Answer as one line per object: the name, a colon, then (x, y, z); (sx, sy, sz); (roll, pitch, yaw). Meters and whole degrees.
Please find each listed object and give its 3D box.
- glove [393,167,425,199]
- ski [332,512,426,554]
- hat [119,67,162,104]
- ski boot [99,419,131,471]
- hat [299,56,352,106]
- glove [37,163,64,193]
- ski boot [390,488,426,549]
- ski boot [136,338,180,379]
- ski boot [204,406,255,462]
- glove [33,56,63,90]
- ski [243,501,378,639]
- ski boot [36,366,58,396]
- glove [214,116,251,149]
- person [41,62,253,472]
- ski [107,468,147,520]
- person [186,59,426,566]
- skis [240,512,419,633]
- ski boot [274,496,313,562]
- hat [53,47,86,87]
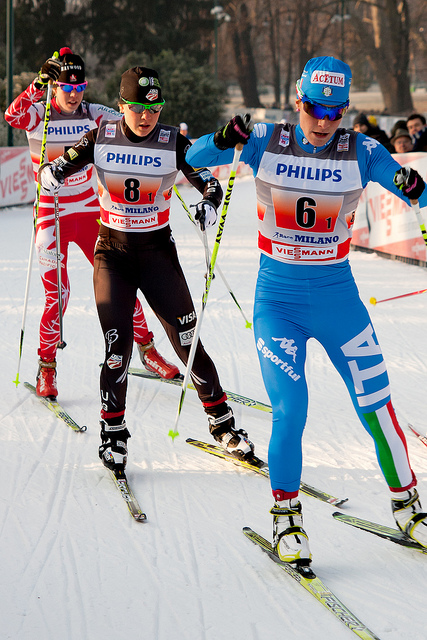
glove: (0.660, -0.469, 2.056); (0.082, 0.094, 0.111); (-35, 28, -21)
ski: (0.663, 0.833, 2.412); (0.090, 0.047, 0.420); (-11, 20, -36)
hat: (-0.351, -1.084, 2.816); (0.162, 0.162, 0.212); (-3, 15, -19)
ski boot: (-0.538, 0.614, 3.075); (0.125, 0.247, 0.351); (3, -2, -26)
hat: (0.382, -0.815, 2.045); (0.173, 0.182, 0.203); (3, 12, 10)
glove: (-0.859, -0.748, 3.137); (0.091, 0.147, 0.341); (-4, 13, -23)
ski boot: (0.743, 0.735, 2.253); (0.137, 0.216, 0.069); (5, 13, 20)
ski boot: (-0.406, 0.273, 4.360); (0.140, 0.234, 0.407); (-23, 28, -31)
ski boot: (0.072, 0.546, 3.218); (0.231, 0.426, 0.166); (4, 40, 24)
glove: (-1.037, -1.588, 3.855); (0.162, 0.217, 0.086); (34, 14, 35)
ski: (0.247, 0.806, 2.214); (0.111, 0.087, 1.007); (-9, 24, -22)
ski boot: (-1.106, 0.405, 3.915); (0.089, 0.109, 0.259); (2, 11, -15)
glove: (0.053, -0.654, 2.080); (0.057, 0.083, 0.116); (10, 5, -42)
person: (-0.314, -0.233, 2.963); (1.039, 1.968, 0.792); (-1, 11, -10)
ski: (-0.388, 0.799, 2.751); (0.066, 0.039, 0.472); (1, 21, -21)
person: (0.376, -0.005, 2.156); (0.889, 1.779, 0.474); (2, 12, 3)
skis: (0.368, 0.868, 2.046); (0.257, 0.063, 0.448); (-5, 13, -29)
ski boot: (0.284, 0.758, 2.192); (0.098, 0.255, 0.284); (3, -3, -10)
hat: (-0.927, -1.635, 3.847); (0.170, 0.229, 0.202); (-1, 12, -9)
